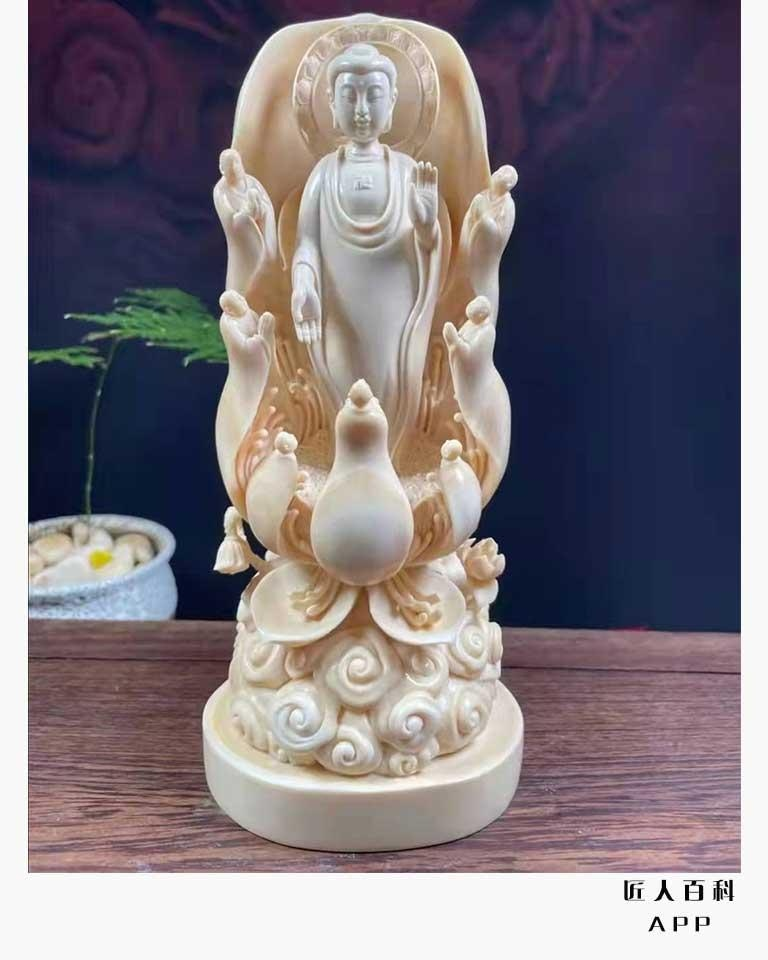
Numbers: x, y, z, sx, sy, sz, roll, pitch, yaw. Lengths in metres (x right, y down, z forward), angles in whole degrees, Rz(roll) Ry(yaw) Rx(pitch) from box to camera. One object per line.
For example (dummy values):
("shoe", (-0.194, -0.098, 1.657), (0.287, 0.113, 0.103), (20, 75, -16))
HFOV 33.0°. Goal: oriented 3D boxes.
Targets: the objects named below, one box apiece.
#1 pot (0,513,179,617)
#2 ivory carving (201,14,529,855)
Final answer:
("pot", (-0.938, 0.298, 4.318), (0.485, 0.345, 0.197), (0, 2, -13))
("ivory carving", (-0.062, -0.147, 3.195), (0.820, 2.010, 0.675), (1, 2, 7))
